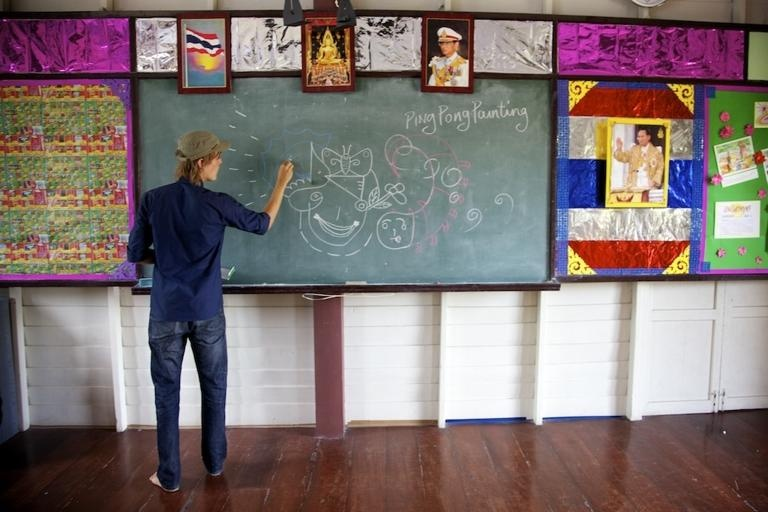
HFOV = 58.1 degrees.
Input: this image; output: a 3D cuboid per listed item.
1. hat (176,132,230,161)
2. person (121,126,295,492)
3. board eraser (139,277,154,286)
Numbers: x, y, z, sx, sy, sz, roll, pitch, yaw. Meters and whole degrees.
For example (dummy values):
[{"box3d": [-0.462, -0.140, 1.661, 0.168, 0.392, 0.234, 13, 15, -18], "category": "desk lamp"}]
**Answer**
[{"box3d": [-1.163, -0.706, 4.426, 0.269, 0.091, 0.185, -15, 32, -25], "category": "hat"}, {"box3d": [-1.237, 0.357, 4.494, 0.806, 2.308, 0.259, -3, 5, -9], "category": "person"}, {"box3d": [-1.650, 0.185, 4.774, 0.084, 0.019, 0.075, 1, 23, -9], "category": "board eraser"}]
